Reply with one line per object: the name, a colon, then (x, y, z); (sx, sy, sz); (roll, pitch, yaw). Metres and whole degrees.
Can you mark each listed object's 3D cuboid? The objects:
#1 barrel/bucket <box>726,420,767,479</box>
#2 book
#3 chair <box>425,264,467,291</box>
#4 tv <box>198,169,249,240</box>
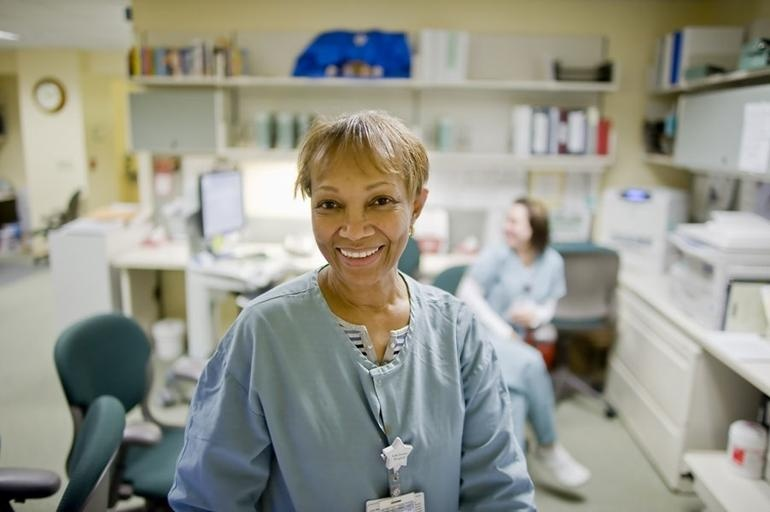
barrel/bucket: (1.191, 0.645, 2.250); (0.155, 0.173, 0.155); (1, 6, 0)
book: (-0.795, -0.796, 2.608); (0.428, 0.153, 0.069); (-7, 12, -23)
chair: (0.251, 0.088, 2.634); (0.115, 0.112, 0.126); (1, 10, -5)
tv: (-0.761, -0.255, 3.101); (0.029, 0.298, 0.292); (7, 15, 24)
